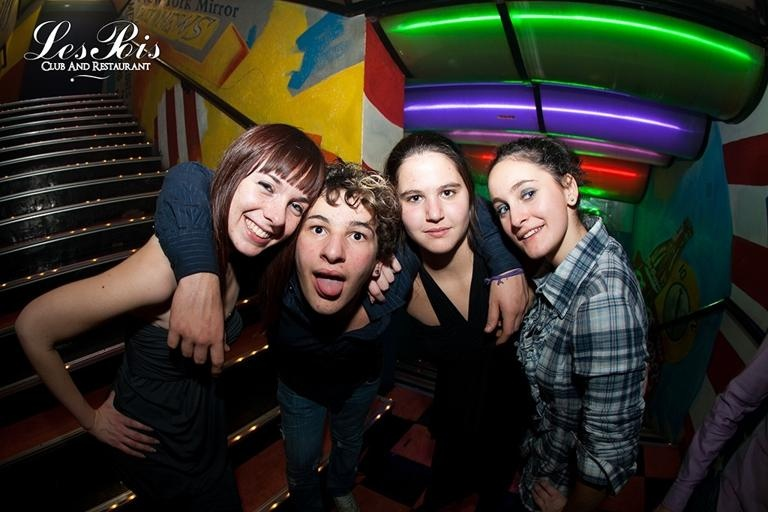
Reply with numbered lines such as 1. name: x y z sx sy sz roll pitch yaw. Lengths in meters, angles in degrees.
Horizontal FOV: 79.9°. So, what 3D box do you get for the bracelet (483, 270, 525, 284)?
1. bracelet: 0.785 0.134 3.000 0.150 0.036 0.122 -20 -12 24
